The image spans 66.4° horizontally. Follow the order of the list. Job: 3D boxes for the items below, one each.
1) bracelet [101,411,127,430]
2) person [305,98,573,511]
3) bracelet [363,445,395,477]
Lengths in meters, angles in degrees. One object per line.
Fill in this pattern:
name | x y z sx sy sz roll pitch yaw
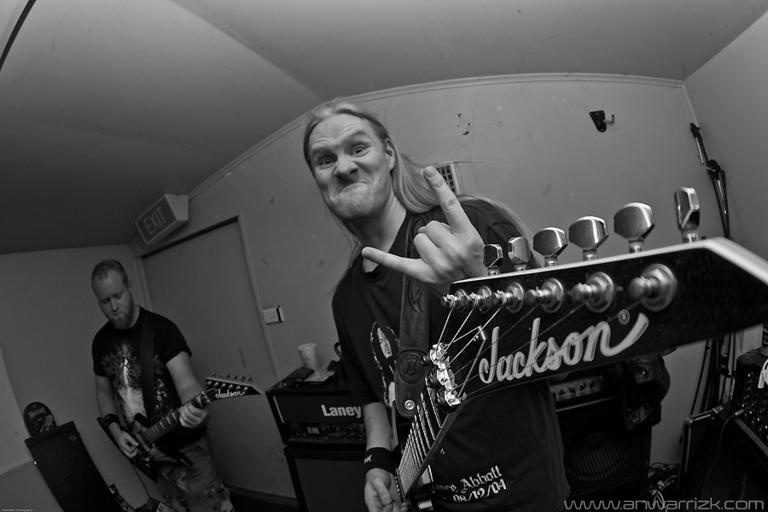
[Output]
bracelet | -0.926 0.557 1.997 0.053 0.058 0.058 -12 -1 5
person | 0.129 0.063 1.517 0.146 1.171 0.538 1 -20 -36
bracelet | -0.022 0.544 1.556 0.065 0.056 0.070 -5 -20 16
